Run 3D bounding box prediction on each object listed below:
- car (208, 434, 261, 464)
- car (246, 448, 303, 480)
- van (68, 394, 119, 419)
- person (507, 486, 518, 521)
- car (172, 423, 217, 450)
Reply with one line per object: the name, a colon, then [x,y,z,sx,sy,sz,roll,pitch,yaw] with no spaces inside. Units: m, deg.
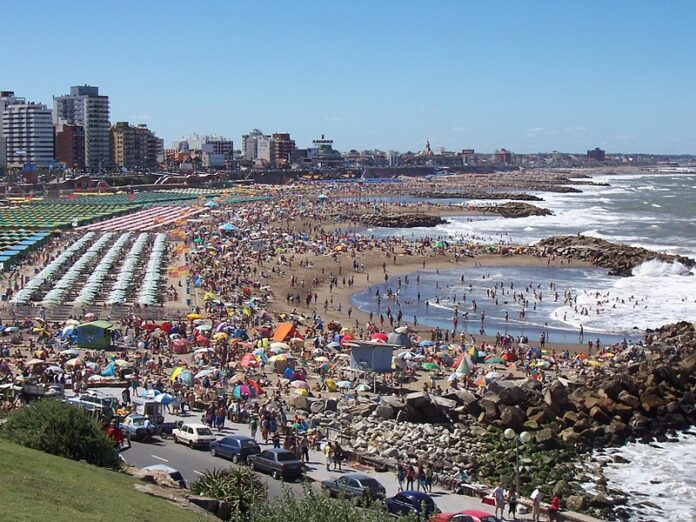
car: [-4.722,7.952,40.412,1.729,0.664,1.043,13,14,33]
car: [-2.992,8.200,39.161,2.161,0.667,1.076,11,11,41]
van: [-11.585,6.485,43.341,2.331,0.903,1.238,14,12,20]
person: [6.556,9.713,38.174,0.348,0.942,0.943,0,9,10]
car: [-6.815,7.666,42.257,0.959,0.636,1.877,-5,12,-43]
